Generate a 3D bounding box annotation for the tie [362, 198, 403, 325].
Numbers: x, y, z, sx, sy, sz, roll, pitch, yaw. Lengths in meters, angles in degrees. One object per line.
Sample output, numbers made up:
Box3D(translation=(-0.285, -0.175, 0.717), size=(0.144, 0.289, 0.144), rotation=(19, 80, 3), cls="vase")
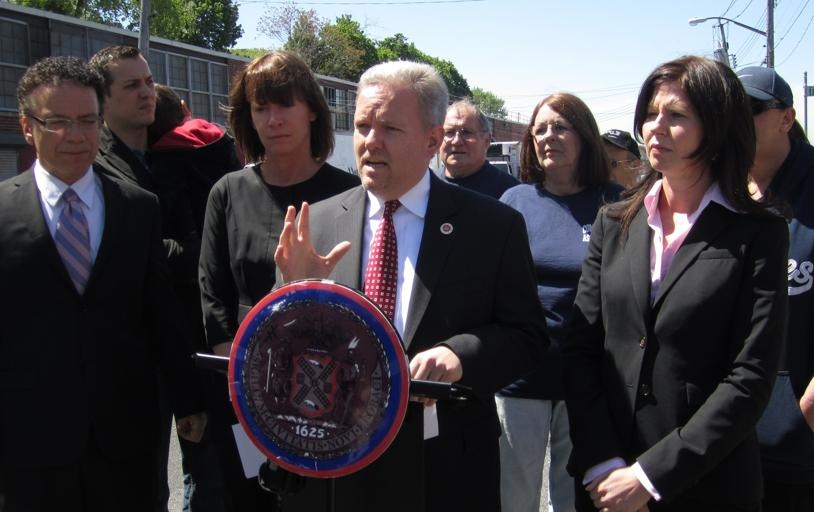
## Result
Box3D(translation=(-0.129, 0.011, 3.539), size=(0.177, 0.592, 0.264), rotation=(4, 11, -4), cls="tie")
